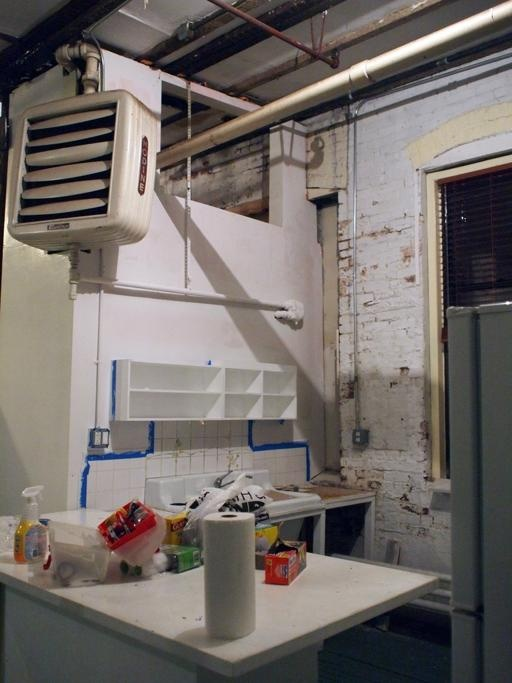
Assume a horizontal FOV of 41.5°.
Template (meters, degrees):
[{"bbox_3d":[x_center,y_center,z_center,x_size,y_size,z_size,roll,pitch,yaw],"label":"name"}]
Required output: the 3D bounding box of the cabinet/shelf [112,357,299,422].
[{"bbox_3d":[-0.189,0.284,4.143,1.233,0.366,0.179,0,10,32],"label":"cabinet/shelf"}]

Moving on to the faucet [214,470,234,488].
[{"bbox_3d":[-0.197,0.832,4.122,0.113,0.072,0.299,2,-2,-2],"label":"faucet"}]

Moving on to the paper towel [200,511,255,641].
[{"bbox_3d":[-0.059,0.535,1.555,0.119,0.257,0.112,3,-3,-16],"label":"paper towel"}]
